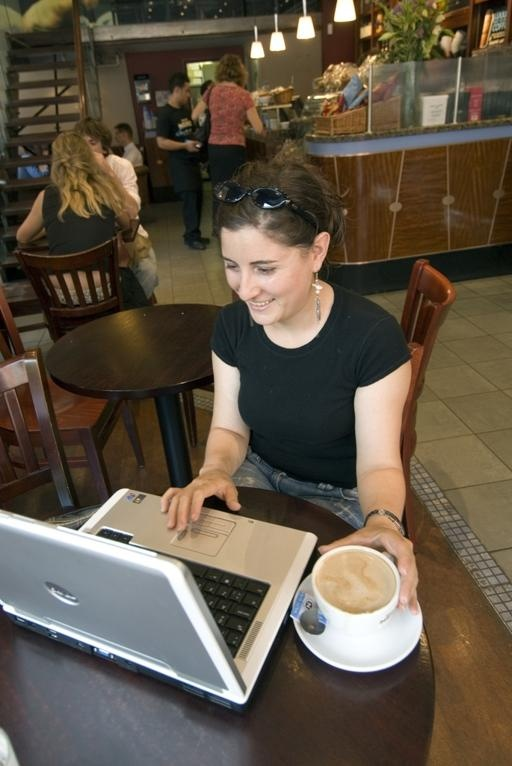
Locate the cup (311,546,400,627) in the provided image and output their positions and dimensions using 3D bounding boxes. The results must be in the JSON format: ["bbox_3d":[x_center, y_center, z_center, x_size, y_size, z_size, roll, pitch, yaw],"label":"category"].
[{"bbox_3d":[0.134,0.255,0.677,0.087,0.057,0.089,-24,45,27],"label":"cup"}]

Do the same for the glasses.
[{"bbox_3d":[0.007,-0.324,1.056,0.150,0.156,0.044,14,81,22],"label":"glasses"}]

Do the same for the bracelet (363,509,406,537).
[{"bbox_3d":[0.215,0.235,0.912,0.014,0.051,0.049,-54,28,-17],"label":"bracelet"}]

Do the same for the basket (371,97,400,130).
[{"bbox_3d":[0.892,-1.895,3.880,0.238,0.239,0.146,-7,22,-14],"label":"basket"}]

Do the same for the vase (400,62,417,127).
[{"bbox_3d":[1.072,-2.037,3.841,0.120,0.399,0.092,-5,26,1],"label":"vase"}]

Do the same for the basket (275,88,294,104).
[{"bbox_3d":[0.375,-3.781,7.158,0.228,0.174,0.242,-3,49,10],"label":"basket"}]

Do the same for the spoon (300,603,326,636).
[{"bbox_3d":[0.073,0.304,0.693,0.038,0.019,0.053,1,45,3],"label":"spoon"}]

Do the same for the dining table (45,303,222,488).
[{"bbox_3d":[-0.422,0.044,1.861,0.513,0.541,0.467,-24,42,-18],"label":"dining table"}]
